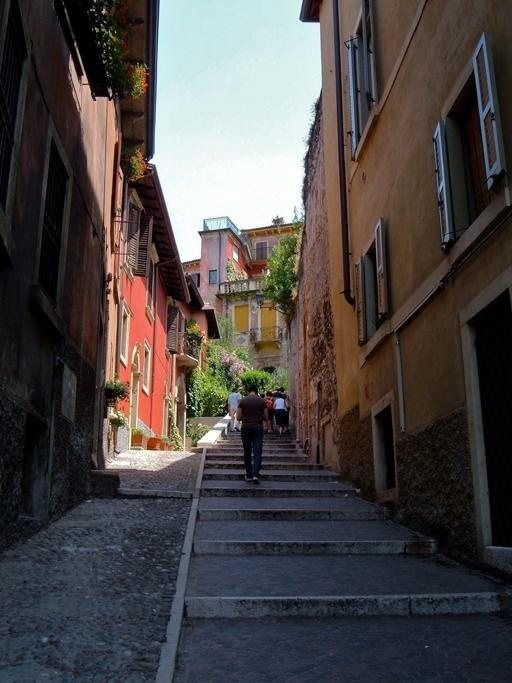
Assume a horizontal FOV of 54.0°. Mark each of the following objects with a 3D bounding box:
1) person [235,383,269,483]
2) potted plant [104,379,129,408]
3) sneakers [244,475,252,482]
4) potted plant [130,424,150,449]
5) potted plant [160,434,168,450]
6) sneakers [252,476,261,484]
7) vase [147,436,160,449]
[{"bbox_3d":[-0.071,1.628,8.898,0.506,1.689,1.172,1,-10,1],"label":"person"},{"bbox_3d":[-2.768,0.998,9.945,0.356,0.561,1.203,3,-13,-9],"label":"potted plant"},{"bbox_3d":[-0.126,2.320,8.470,0.052,0.104,0.189,8,-14,-35],"label":"sneakers"},{"bbox_3d":[-3.561,2.962,15.153,0.385,0.855,0.653,-2,-17,7],"label":"potted plant"},{"bbox_3d":[-3.185,3.554,17.484,0.219,0.454,1.384,3,-13,-10],"label":"potted plant"},{"bbox_3d":[-0.001,2.294,8.292,0.083,0.163,0.301,1,-14,3],"label":"sneakers"},{"bbox_3d":[-3.292,3.272,16.165,0.212,0.243,0.381,0,-19,-2],"label":"vase"}]
